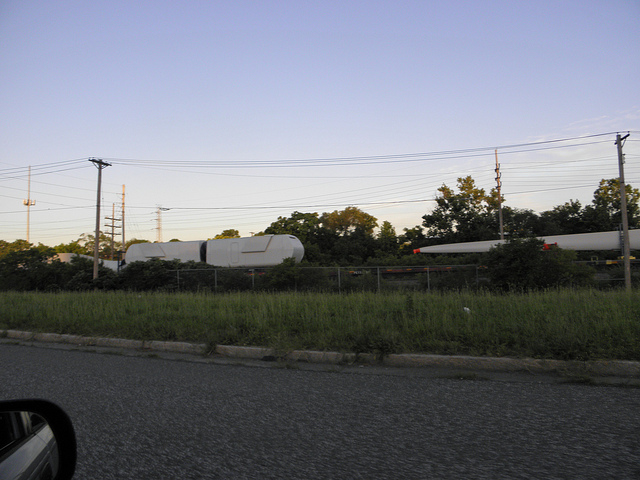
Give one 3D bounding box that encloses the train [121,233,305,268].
[{"bbox_3d":[-6.371,1.000,32.981,10.526,2.127,1.973,-3,-1,16],"label":"train"}]
